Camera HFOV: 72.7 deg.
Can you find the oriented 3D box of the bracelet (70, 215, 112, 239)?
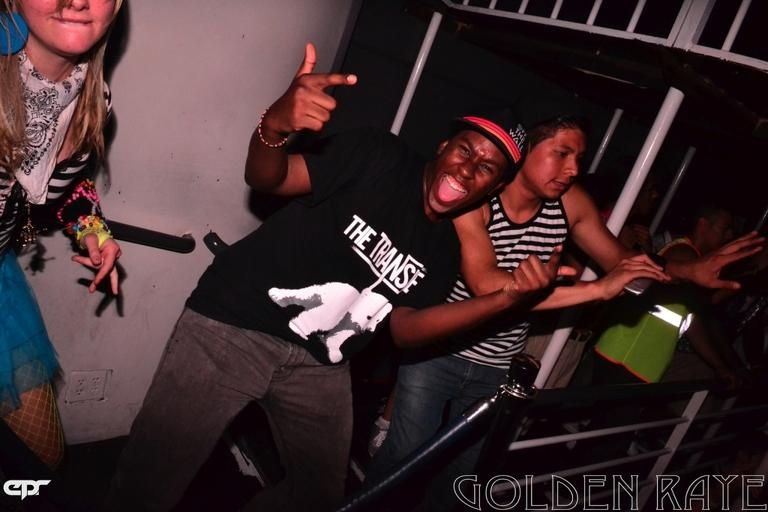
[{"bbox_3d":[-1.539,-0.151,2.715,0.159,0.137,0.072,4,-2,-24],"label":"bracelet"}]

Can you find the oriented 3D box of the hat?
[{"bbox_3d":[0.581,-0.643,2.866,0.328,0.223,0.428,47,-9,-8],"label":"hat"}]

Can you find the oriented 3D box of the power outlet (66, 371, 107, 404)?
[{"bbox_3d":[-1.918,0.830,3.320,0.244,0.236,0.033,6,19,-38],"label":"power outlet"}]

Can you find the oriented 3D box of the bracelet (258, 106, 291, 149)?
[{"bbox_3d":[-0.517,-0.577,2.361,0.106,0.158,0.193,0,24,-47],"label":"bracelet"}]

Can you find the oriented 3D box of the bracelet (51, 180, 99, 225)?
[{"bbox_3d":[-1.601,-0.303,2.752,0.100,0.277,0.152,39,-11,44],"label":"bracelet"}]

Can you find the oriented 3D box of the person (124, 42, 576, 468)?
[{"bbox_3d":[-0.284,0.194,2.608,1.499,2.121,0.695,14,17,-14],"label":"person"}]
